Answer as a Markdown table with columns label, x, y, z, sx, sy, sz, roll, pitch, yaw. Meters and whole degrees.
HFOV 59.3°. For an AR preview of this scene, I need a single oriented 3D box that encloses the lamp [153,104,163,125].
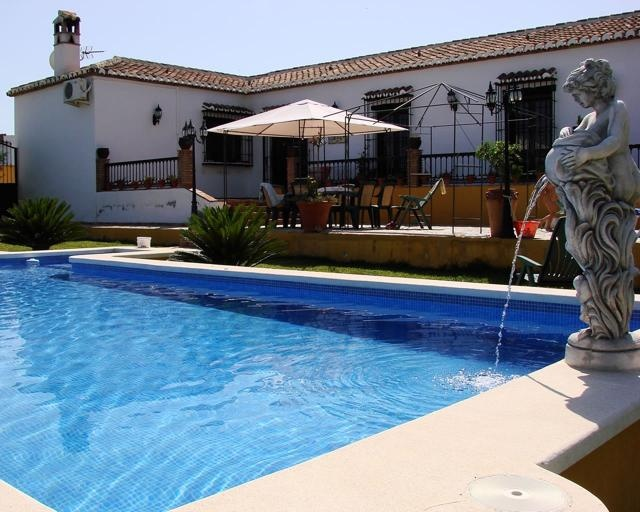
| label | x | y | z | sx | sy | sz | roll | pitch | yaw |
| --- | --- | --- | --- | --- | --- | --- | --- | --- | --- |
| lamp | -5.312 | -4.622 | 18.351 | 0.381 | 0.689 | 0.266 | -7 | 9 | -35 |
